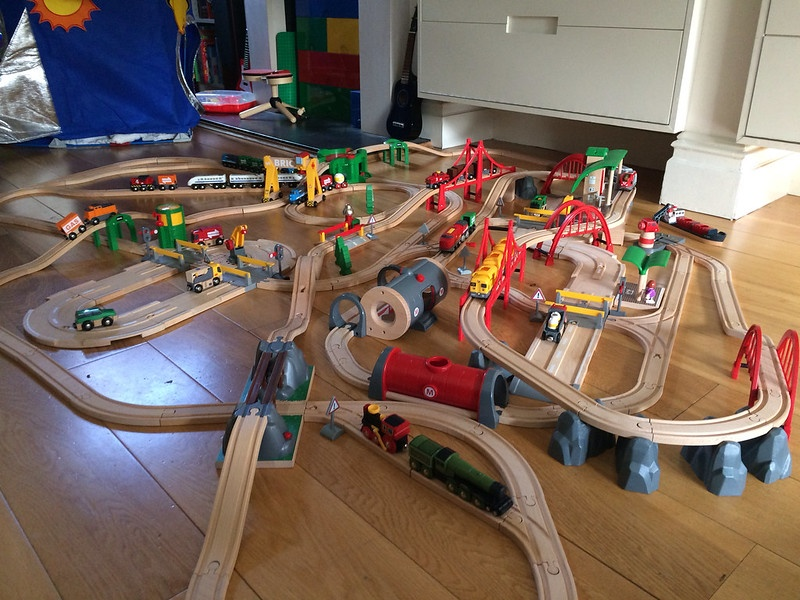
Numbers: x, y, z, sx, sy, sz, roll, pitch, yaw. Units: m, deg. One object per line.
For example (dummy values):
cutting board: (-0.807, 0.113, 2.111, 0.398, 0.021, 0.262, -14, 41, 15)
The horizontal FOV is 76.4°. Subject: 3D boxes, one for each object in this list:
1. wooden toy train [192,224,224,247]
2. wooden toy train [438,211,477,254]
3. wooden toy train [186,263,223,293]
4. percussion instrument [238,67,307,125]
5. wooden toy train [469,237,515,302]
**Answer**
wooden toy train: (-1.387, -0.480, 3.650, 0.212, 0.116, 0.127, -9, 18, -31)
wooden toy train: (0.452, -0.527, 3.663, 0.134, 0.168, 0.572, 12, 44, 28)
wooden toy train: (-1.191, -0.163, 3.173, 0.231, 0.138, 0.138, -19, 29, -34)
percussion instrument: (-1.655, -2.670, 6.572, 0.848, 0.628, 1.024, -5, 26, -15)
wooden toy train: (0.500, -0.199, 2.767, 0.124, 0.132, 0.536, 10, 35, 17)
